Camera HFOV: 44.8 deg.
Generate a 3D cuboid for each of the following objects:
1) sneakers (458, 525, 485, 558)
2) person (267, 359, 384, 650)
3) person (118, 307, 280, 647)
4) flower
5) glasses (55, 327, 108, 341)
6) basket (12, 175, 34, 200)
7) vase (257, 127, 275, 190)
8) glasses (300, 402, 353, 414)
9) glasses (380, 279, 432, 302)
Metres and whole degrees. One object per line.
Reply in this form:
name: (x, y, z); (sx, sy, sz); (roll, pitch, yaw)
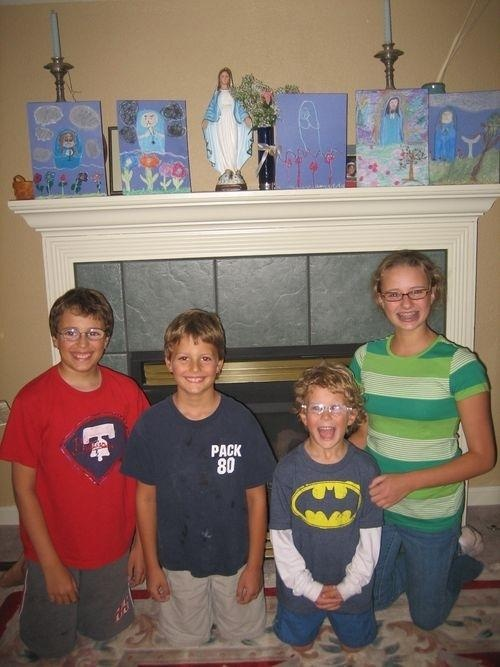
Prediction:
sneakers: (0.796, 0.750, 2.183); (0.112, 0.047, 0.134); (9, 27, 5)
person: (0.215, 0.515, 1.743); (0.349, 0.845, 0.269); (-9, 15, -14)
person: (-0.140, 0.445, 1.757); (0.401, 0.996, 0.270); (-13, 16, -28)
flower: (0.024, -0.824, 2.154); (0.246, 0.199, 0.105); (2, 3, -9)
glasses: (-0.492, 0.003, 1.770); (0.121, 0.045, 0.029); (-8, 14, -17)
basket: (-0.823, -0.530, 2.199); (0.066, 0.097, 0.262); (-10, 14, -18)
vase: (0.056, -0.640, 2.164); (0.061, 0.203, 0.050); (-4, 15, -10)
glasses: (0.205, 0.207, 1.685); (0.142, 0.034, 0.055); (-1, 13, 12)
glasses: (0.462, -0.116, 1.804); (0.139, 0.044, 0.043); (-1, 14, 12)
